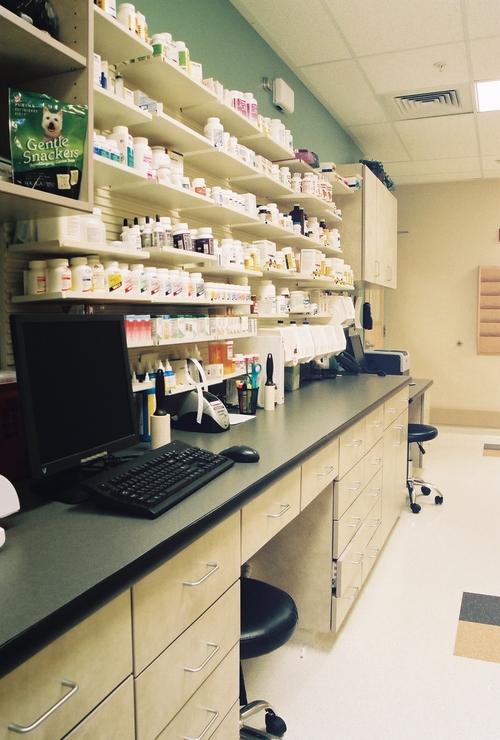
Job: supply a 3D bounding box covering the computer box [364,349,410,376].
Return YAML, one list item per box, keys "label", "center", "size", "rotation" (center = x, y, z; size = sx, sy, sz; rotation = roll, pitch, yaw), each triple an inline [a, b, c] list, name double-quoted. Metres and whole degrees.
- label: "computer box"
  center: [1.021, -0.063, 4.180]
  size: [0.240, 0.194, 0.242]
  rotation: [0, 4, 13]

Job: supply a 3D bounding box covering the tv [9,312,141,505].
- label: "tv"
  center: [-0.380, 0.088, 1.193]
  size: [0.124, 0.412, 0.358]
  rotation: [-14, -7, 20]

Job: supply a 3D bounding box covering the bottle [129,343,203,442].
- label: "bottle"
  center: [-0.267, 0.077, 1.763]
  size: [0.079, 0.251, 0.283]
  rotation: [1, 6, 15]

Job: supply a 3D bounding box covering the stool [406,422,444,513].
- label: "stool"
  center: [1.145, 0.658, 3.916]
  size: [0.387, 0.512, 0.418]
  rotation: [5, 7, 17]
